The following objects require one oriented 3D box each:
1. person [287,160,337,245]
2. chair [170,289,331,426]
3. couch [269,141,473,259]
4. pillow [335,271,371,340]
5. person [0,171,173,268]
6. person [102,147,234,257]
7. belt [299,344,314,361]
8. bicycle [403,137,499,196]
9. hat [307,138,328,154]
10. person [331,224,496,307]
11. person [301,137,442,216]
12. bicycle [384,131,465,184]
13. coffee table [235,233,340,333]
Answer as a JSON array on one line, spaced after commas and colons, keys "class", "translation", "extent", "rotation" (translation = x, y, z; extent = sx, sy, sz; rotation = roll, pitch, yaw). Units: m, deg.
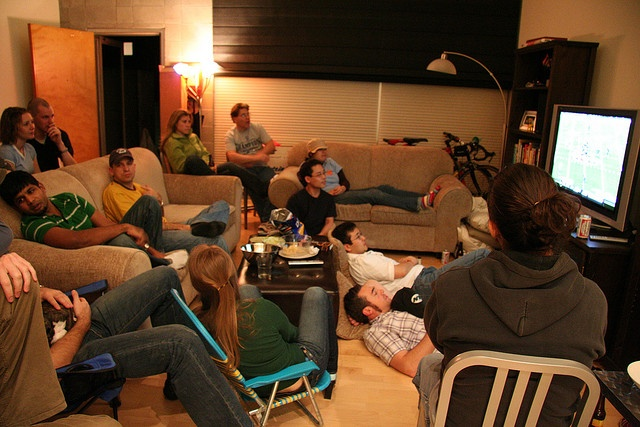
[{"class": "person", "translation": [-0.065, -0.120, 4.880], "extent": [0.589, 0.804, 0.493], "rotation": [5, 16, -9]}, {"class": "chair", "translation": [-0.354, 0.802, 3.105], "extent": [0.974, 0.927, 0.767], "rotation": [-7, 14, -21]}, {"class": "couch", "translation": [0.568, -0.203, 5.596], "extent": [2.114, 1.019, 1.006], "rotation": [3, 21, 5]}, {"class": "pillow", "translation": [0.223, 0.723, 3.840], "extent": [0.349, 0.123, 0.415], "rotation": [4, 38, 7]}, {"class": "person", "translation": [-1.673, -0.050, 3.537], "extent": [1.182, 0.629, 0.499], "rotation": [8, 28, -11]}, {"class": "person", "translation": [-1.290, -0.084, 4.207], "extent": [1.095, 0.778, 0.590], "rotation": [6, 22, 5]}, {"class": "belt", "translation": [-0.077, 0.822, 2.889], "extent": [0.031, 0.093, 0.065], "rotation": [-41, 10, -5]}, {"class": "bicycle", "translation": [2.014, -0.693, 6.896], "extent": [0.611, 0.679, 1.136], "rotation": [-23, -15, 31]}, {"class": "hat", "translation": [-0.032, -0.775, 5.555], "extent": [0.164, 0.110, 0.208], "rotation": [-9, -5, -30]}, {"class": "person", "translation": [0.683, 0.396, 3.886], "extent": [1.288, 0.675, 0.534], "rotation": [-4, 15, 14]}, {"class": "person", "translation": [0.539, -0.410, 5.440], "extent": [1.710, 0.745, 0.708], "rotation": [5, 16, 36]}, {"class": "bicycle", "translation": [1.360, -0.788, 6.942], "extent": [1.295, 0.777, 0.670], "rotation": [3, 18, 21]}, {"class": "coffee table", "translation": [-0.159, 0.590, 3.909], "extent": [0.582, 0.391, 0.896], "rotation": [2, 15, -3]}]
